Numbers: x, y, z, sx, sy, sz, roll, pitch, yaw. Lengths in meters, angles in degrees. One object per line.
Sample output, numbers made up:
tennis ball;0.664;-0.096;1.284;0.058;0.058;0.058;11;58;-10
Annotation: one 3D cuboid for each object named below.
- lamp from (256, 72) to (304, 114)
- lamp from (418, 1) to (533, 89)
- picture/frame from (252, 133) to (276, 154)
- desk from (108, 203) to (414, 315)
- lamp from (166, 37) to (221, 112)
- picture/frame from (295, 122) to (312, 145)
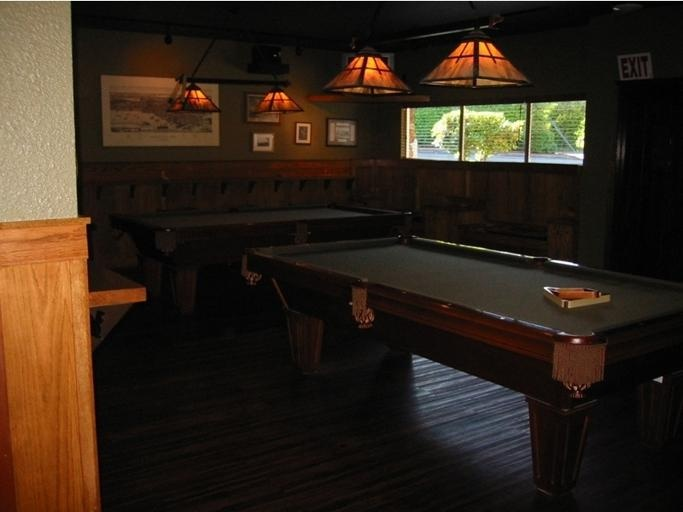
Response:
lamp;-0.674;-1.715;5.809;0.335;0.294;0.446;-10;16;-38
lamp;0.767;-1.282;3.038;0.643;0.566;0.593;1;16;-2
picture/frame;-1.200;-1.719;8.130;0.400;0.260;0.037;-1;5;-35
desk;-1.064;0.098;6.340;3.306;0.881;1.870;-7;1;-45
lamp;-1.506;-1.758;5.419;0.597;0.609;0.417;0;17;-3
picture/frame;-0.618;-1.948;8.453;0.431;0.442;0.048;-2;3;-33
